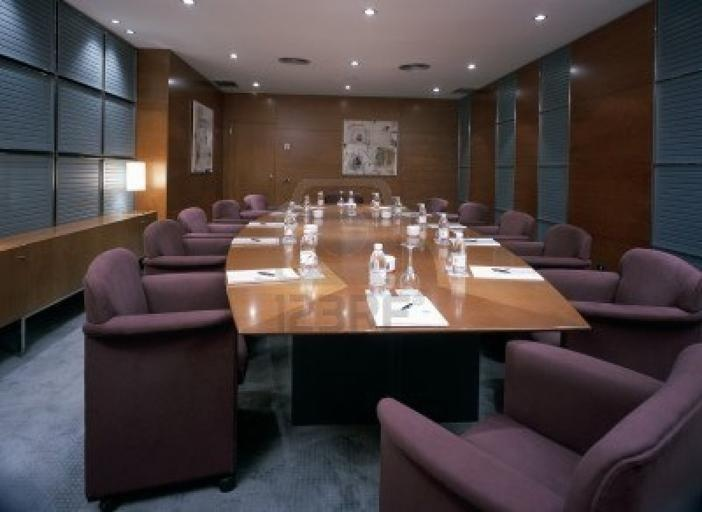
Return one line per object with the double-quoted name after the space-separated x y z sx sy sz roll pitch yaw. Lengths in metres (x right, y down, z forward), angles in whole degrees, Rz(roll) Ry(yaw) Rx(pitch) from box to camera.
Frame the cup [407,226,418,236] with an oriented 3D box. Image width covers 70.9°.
0.478 -0.200 3.890 0.070 0.056 0.073 -1 10 0 "cup"
